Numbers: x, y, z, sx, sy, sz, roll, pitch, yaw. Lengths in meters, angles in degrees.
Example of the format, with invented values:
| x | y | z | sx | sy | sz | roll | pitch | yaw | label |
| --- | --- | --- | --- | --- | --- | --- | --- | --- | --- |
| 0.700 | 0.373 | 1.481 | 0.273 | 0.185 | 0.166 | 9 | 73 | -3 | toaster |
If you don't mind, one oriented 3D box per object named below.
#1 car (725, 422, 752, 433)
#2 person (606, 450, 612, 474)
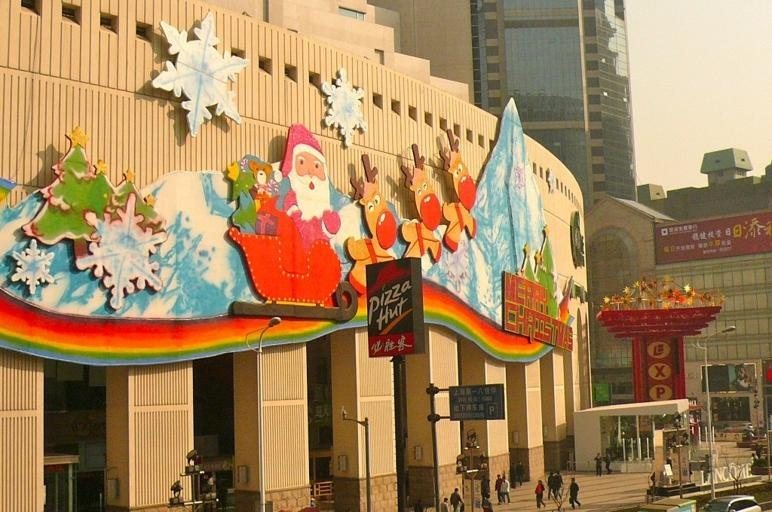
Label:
| x | y | z | sx | sy | sz | roll | pitch | yaw | label |
| --- | --- | --- | --- | --- | --- | --- | --- | --- | --- |
| 43.846 | 21.041 | 172.490 | 2.314 | 1.239 | 1.618 | -3 | -6 | 4 | car |
| 21.172 | 19.393 | 131.515 | 0.757 | 2.647 | 0.927 | 2 | -25 | 10 | person |
